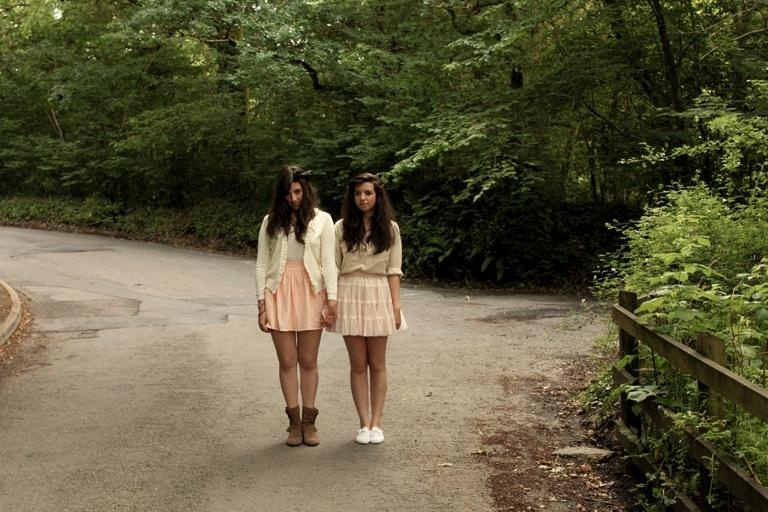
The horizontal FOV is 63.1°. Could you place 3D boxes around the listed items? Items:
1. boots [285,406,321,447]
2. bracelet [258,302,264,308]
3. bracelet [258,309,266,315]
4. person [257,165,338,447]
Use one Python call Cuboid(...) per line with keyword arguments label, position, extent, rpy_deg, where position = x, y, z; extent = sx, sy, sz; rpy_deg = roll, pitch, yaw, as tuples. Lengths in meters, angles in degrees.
Cuboid(label="boots", position=(-0.853, 1.857, 6.769), extent=(0.370, 0.362, 0.409), rpy_deg=(1, -11, -8))
Cuboid(label="bracelet", position=(-1.279, 0.528, 6.666), extent=(0.058, 0.041, 0.057), rpy_deg=(-1, -3, -2))
Cuboid(label="bracelet", position=(-1.276, 0.613, 6.674), extent=(0.055, 0.055, 0.051), rpy_deg=(11, -17, -24))
Cuboid(label="person", position=(-0.926, 0.534, 6.783), extent=(0.903, 2.946, 0.762), rpy_deg=(5, 12, 13))
